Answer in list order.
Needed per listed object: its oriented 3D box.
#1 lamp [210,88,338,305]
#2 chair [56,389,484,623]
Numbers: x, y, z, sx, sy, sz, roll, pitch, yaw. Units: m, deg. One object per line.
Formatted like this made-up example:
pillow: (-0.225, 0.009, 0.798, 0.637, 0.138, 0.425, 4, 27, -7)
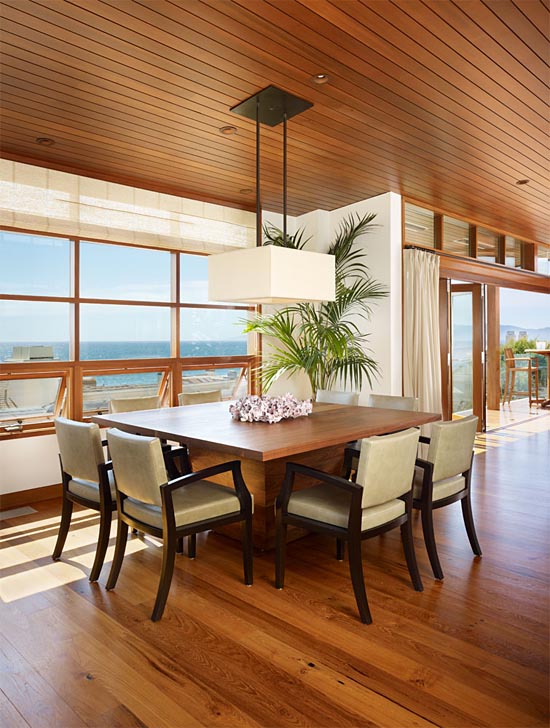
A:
lamp: (-0.086, -0.983, 3.621, 0.744, 1.241, 1.859, -1, 1, -7)
chair: (0.253, 0.543, 2.780, 1.080, 0.613, 1.294, 0, -3, -40)
